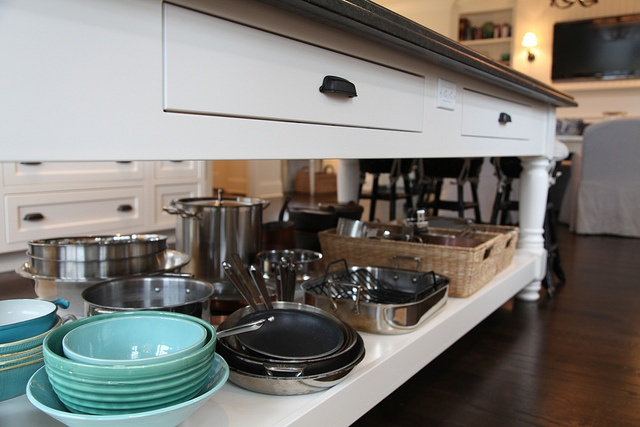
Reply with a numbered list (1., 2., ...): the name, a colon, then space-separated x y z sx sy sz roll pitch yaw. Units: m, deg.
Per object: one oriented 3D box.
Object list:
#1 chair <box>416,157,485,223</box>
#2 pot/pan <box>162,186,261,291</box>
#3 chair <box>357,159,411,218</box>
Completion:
1. chair: 1.051 -0.257 3.724 0.590 0.627 0.548 3 9 23
2. pot/pan: -0.301 0.044 1.404 0.363 0.290 0.230 -2 11 -23
3. chair: 0.609 -0.222 4.132 0.531 0.549 0.500 -12 17 -43
